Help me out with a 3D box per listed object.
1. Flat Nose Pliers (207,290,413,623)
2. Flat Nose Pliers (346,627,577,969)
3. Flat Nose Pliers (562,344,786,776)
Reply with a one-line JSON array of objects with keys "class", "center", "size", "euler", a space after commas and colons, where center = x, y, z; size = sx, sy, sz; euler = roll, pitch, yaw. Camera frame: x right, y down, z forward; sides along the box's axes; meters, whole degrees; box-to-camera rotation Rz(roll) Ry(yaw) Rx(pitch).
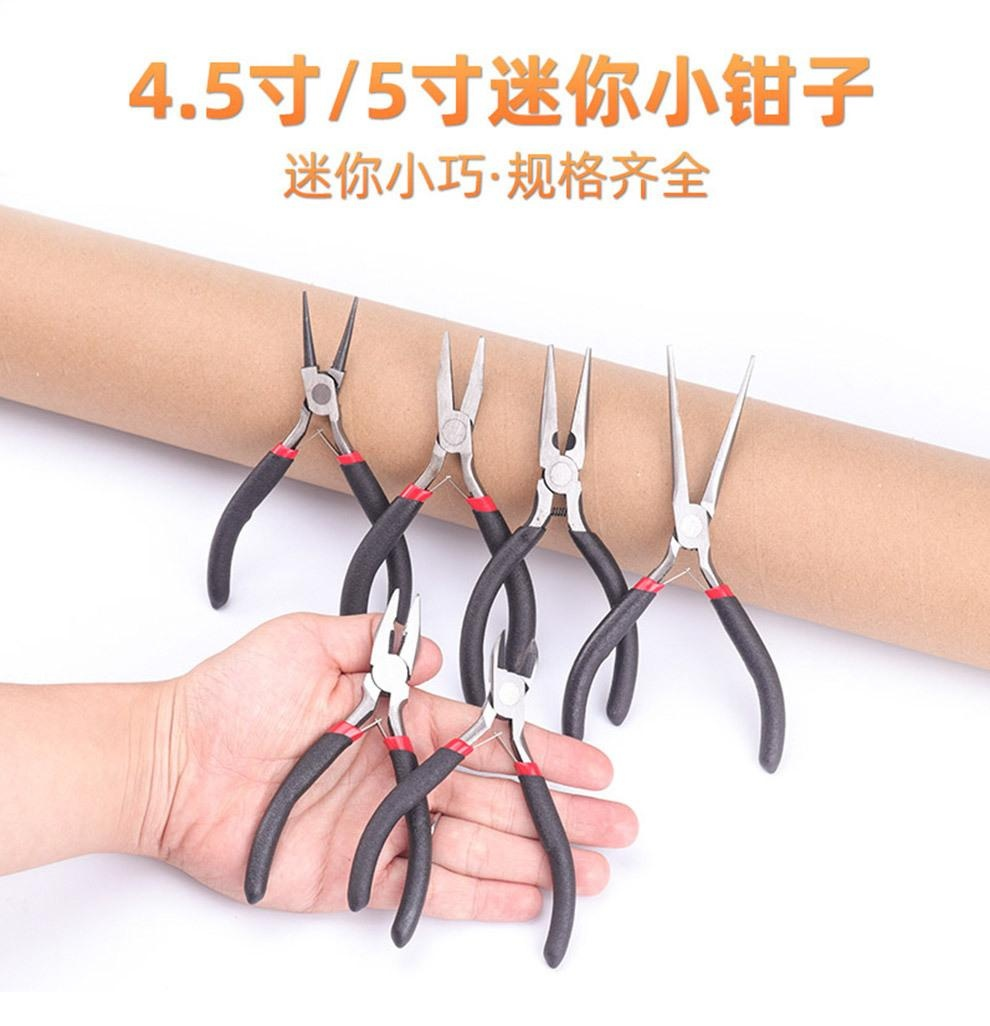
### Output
[{"class": "Flat Nose Pliers", "center": [-0.227, -0.081, 1.356], "size": [0.231, 0.402, 0.399], "euler": [2, 29, -2]}, {"class": "Flat Nose Pliers", "center": [-0.010, 0.265, 1.075], "size": [0.200, 0.315, 0.053], "euler": [14, -29, 2]}, {"class": "Flat Nose Pliers", "center": [0.234, 0.053, 1.281], "size": [0.238, 0.485, 0.272], "euler": [6, 5, 24]}]
